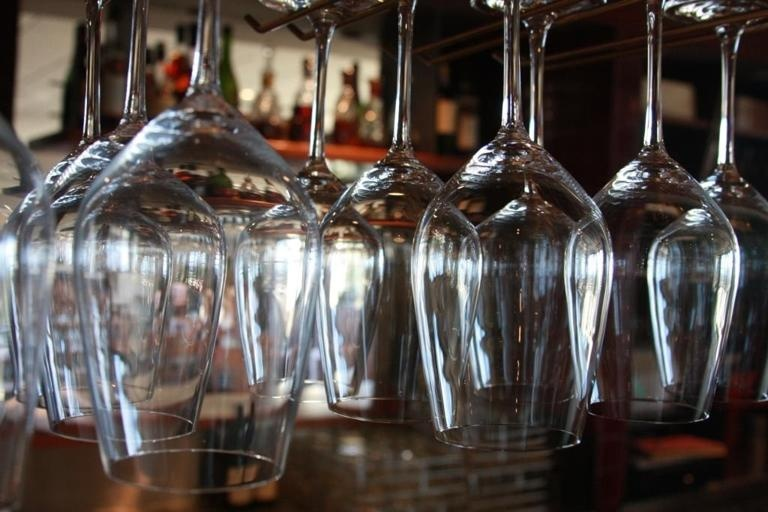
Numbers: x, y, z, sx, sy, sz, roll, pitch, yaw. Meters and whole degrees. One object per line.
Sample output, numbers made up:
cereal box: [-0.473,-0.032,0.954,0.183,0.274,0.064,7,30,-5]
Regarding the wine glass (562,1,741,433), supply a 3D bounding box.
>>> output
wine glass: [0.166,-0.025,0.484,0.083,0.250,0.038,1,-1,10]
